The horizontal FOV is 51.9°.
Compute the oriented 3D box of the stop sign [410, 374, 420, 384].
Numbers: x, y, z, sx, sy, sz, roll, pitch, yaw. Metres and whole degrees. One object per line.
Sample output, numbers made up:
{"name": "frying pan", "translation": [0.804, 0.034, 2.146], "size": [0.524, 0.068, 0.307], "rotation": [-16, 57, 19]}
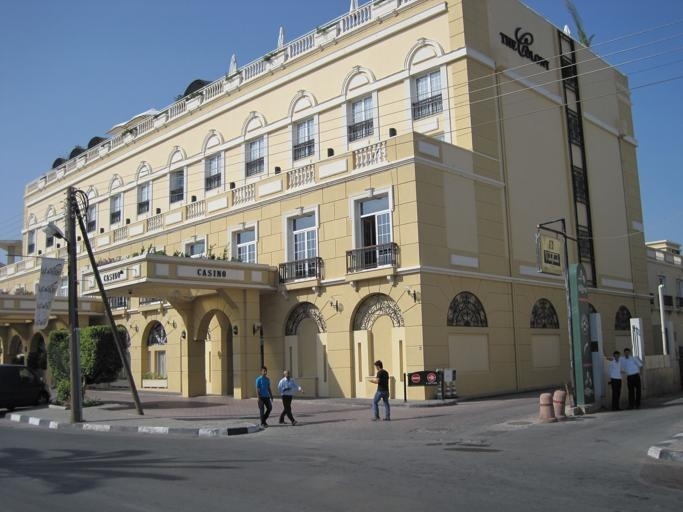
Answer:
{"name": "stop sign", "translation": [2.965, 4.932, 28.189], "size": [0.308, 0.353, 0.065], "rotation": [-7, -13, 24]}

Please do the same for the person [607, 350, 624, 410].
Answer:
{"name": "person", "translation": [9.781, 4.438, 24.970], "size": [0.461, 2.116, 1.217], "rotation": [-3, -14, 21]}
